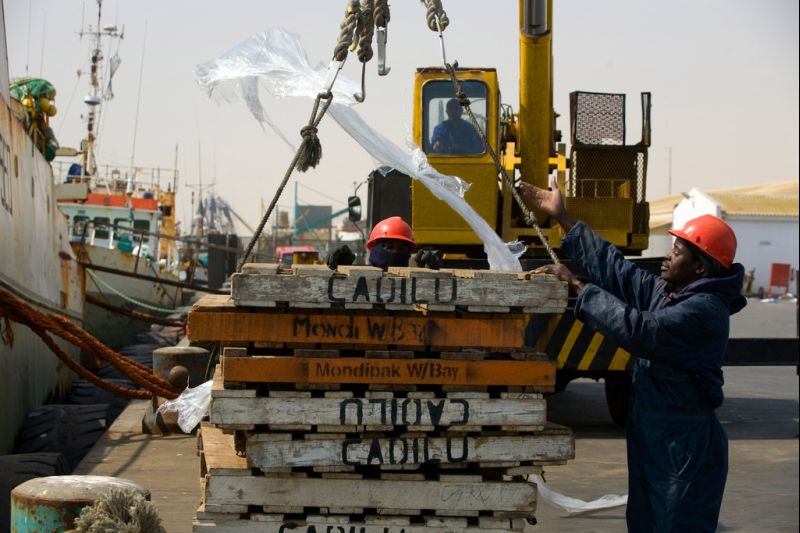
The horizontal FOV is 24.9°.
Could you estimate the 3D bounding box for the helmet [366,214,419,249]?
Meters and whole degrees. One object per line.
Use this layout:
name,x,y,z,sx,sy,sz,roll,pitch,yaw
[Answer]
helmet,-0.162,-0.487,27.625,0.512,0.306,0.610,10,-22,-24

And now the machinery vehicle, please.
machinery vehicle,2.050,-1.623,29.709,3.921,5.593,6.780,0,3,1

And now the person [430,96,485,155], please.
person,0.920,-2.170,28.695,0.930,0.894,0.545,-1,-12,-1
